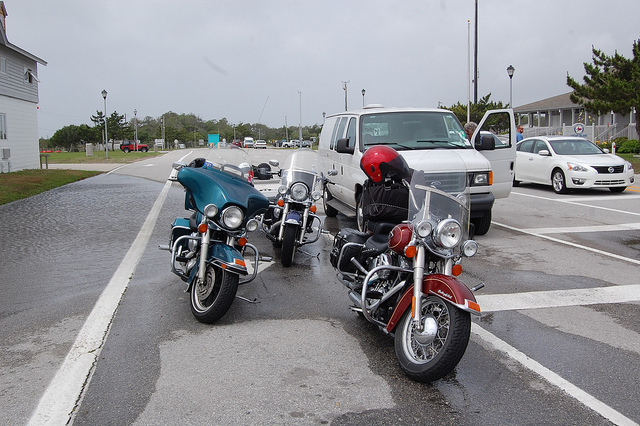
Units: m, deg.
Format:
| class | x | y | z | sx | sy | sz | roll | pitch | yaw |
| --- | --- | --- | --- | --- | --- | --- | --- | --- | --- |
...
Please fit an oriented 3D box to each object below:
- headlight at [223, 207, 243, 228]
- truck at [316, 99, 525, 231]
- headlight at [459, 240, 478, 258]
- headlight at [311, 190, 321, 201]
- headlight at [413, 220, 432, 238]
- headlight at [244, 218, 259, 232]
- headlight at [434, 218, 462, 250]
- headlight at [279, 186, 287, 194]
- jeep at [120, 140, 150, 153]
| class | x | y | z | sx | sy | sz | roll | pitch | yaw |
| --- | --- | --- | --- | --- | --- | --- | --- | --- | --- |
| headlight | -1.105 | 0.065 | 5.189 | 0.228 | 0.248 | 0.224 | 15 | -1 | 40 |
| truck | 2.333 | -1.421 | 9.002 | 3.878 | 2.320 | 4.638 | -3 | 8 | -15 |
| headlight | 1.481 | 0.350 | 4.045 | 0.157 | 0.212 | 0.299 | 4 | 11 | 20 |
| headlight | -0.075 | -0.343 | 7.762 | 0.100 | 0.186 | 0.325 | 4 | 11 | 21 |
| headlight | 0.975 | 0.150 | 3.834 | 0.156 | 0.162 | 0.147 | -24 | 27 | -21 |
| headlight | -0.921 | 0.182 | 5.466 | 0.158 | 0.180 | 0.171 | -1 | 15 | 14 |
| headlight | 1.266 | 0.186 | 3.892 | 0.221 | 0.246 | 0.223 | -4 | -7 | 43 |
| headlight | -0.689 | -0.428 | 7.584 | 0.180 | 0.135 | 0.068 | 7 | 12 | 35 |
| jeep | -33.169 | -11.889 | 72.054 | 2.940 | 1.900 | 6.083 | -10 | 14 | -42 |
